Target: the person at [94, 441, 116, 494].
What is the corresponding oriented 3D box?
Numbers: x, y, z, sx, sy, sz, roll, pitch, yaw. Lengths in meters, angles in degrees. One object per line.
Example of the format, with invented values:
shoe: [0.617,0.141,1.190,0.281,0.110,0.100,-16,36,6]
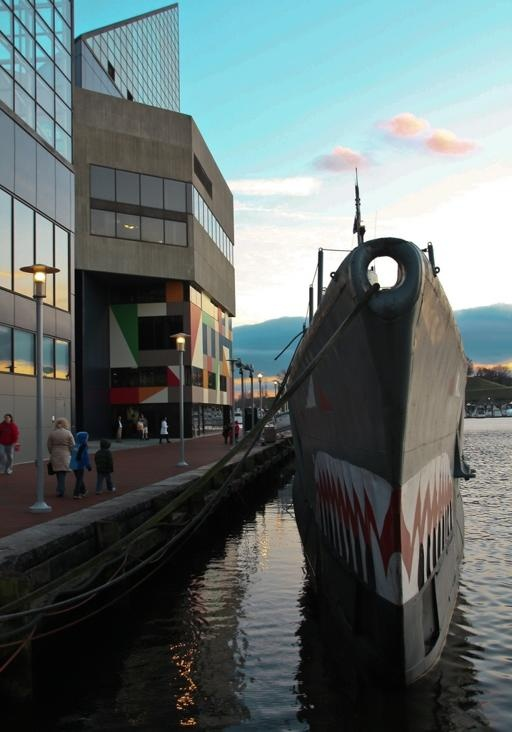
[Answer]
person: [-2.838,1.898,11.408,0.347,0.972,1.023,0,-6,-15]
